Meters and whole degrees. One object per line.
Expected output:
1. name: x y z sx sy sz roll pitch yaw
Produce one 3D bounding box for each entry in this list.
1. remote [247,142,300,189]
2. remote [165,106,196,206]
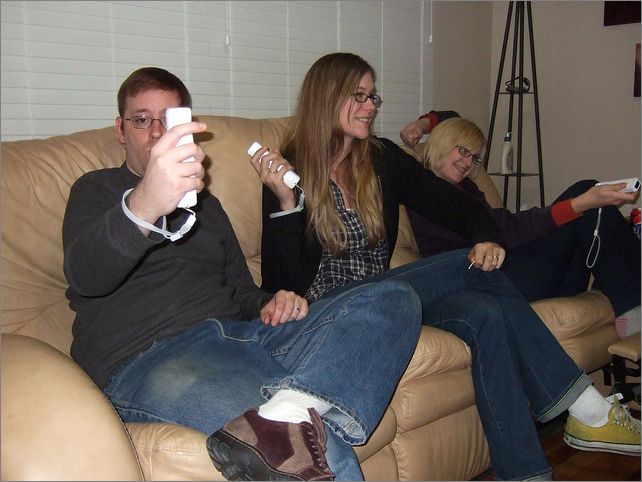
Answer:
1. remote: -0.176 -0.268 1.858 0.215 0.059 0.062 46 51 6
2. remote: -0.349 -0.207 1.267 0.065 0.263 0.026 -3 -2 3
